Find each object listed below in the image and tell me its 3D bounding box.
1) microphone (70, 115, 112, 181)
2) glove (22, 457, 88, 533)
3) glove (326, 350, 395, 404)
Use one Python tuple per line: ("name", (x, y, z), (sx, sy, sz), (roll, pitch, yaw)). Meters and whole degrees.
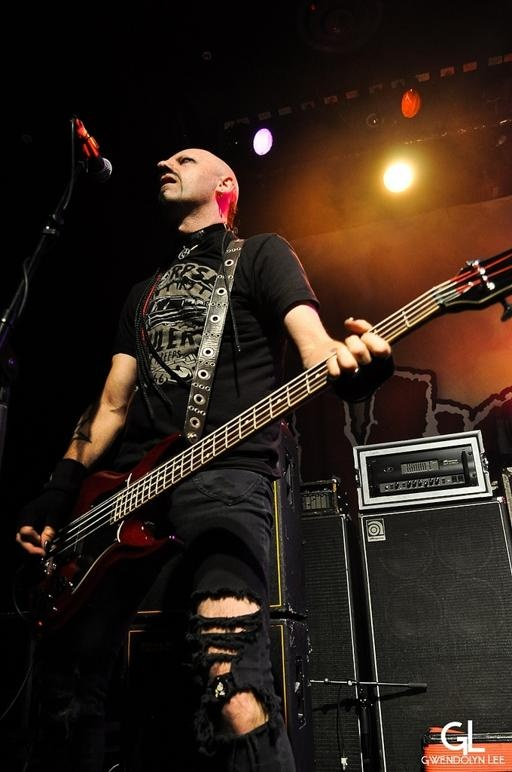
("microphone", (-0.599, -0.880, 2.213), (0.090, 0.090, 0.241), (14, -42, 33))
("glove", (-0.566, 0.312, 1.640), (0.108, 0.201, 0.046), (12, -25, 48))
("glove", (0.192, -0.017, 1.071), (0.105, 0.033, 0.079), (-33, -57, 1))
